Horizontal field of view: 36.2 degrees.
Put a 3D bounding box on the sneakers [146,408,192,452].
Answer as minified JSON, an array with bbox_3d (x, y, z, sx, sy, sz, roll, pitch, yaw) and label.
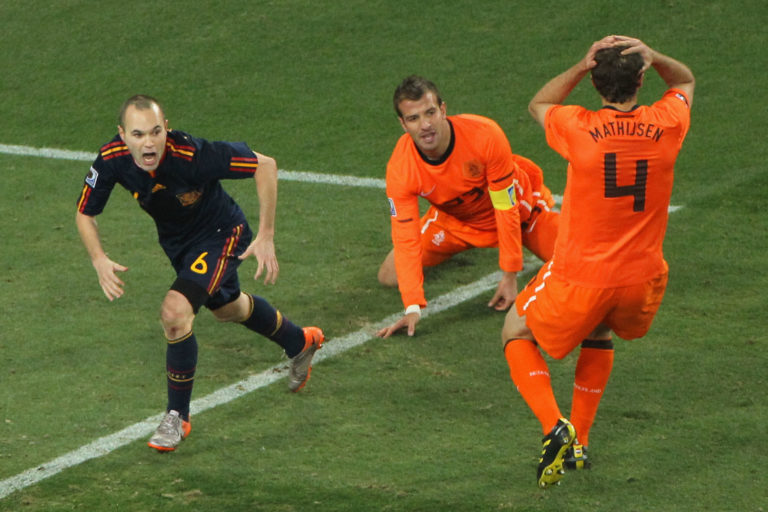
[{"bbox_3d":[-1.424,1.169,7.811,0.152,0.243,0.306,11,22,27],"label":"sneakers"}]

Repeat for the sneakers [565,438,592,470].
[{"bbox_3d":[1.220,1.276,7.501,0.213,0.187,0.225,3,-8,6],"label":"sneakers"}]

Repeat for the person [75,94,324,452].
[{"bbox_3d":[-1.260,0.008,8.040,1.363,2.204,0.941,-12,24,-28],"label":"person"}]

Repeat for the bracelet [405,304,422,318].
[{"bbox_3d":[0.216,0.410,8.615,0.100,0.060,0.091,-3,-1,-7],"label":"bracelet"}]

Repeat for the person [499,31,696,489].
[{"bbox_3d":[1.316,0.022,7.723,1.480,2.787,1.121,-10,23,-38],"label":"person"}]
